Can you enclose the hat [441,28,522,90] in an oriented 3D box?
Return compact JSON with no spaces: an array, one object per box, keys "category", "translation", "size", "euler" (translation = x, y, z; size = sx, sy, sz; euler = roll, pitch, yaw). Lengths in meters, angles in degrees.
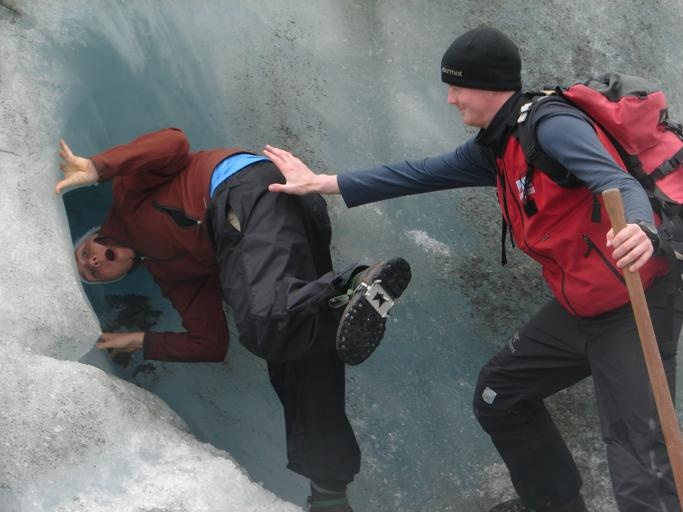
[{"category":"hat","translation":[0.571,-0.831,2.774],"size":[0.346,0.213,0.325],"euler":[17,32,30]}]
